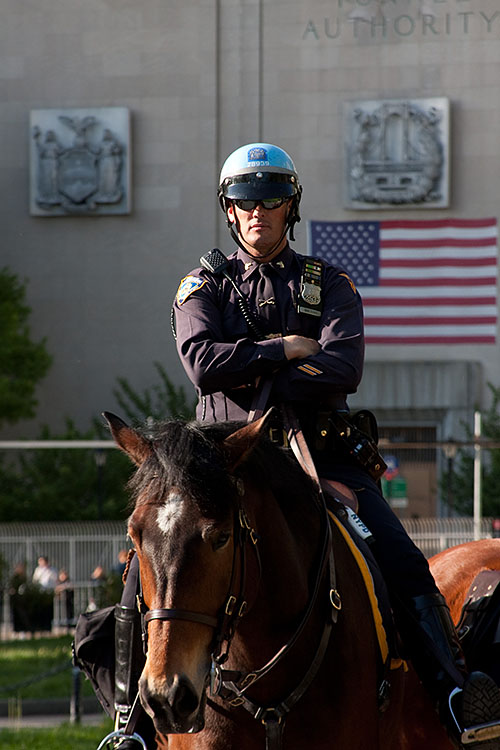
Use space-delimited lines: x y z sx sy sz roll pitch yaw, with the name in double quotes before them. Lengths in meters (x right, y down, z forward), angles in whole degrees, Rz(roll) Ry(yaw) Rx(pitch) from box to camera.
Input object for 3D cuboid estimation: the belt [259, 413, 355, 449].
"belt" 0.494 0.417 13.481 0.470 0.212 0.349 -3 -6 10
